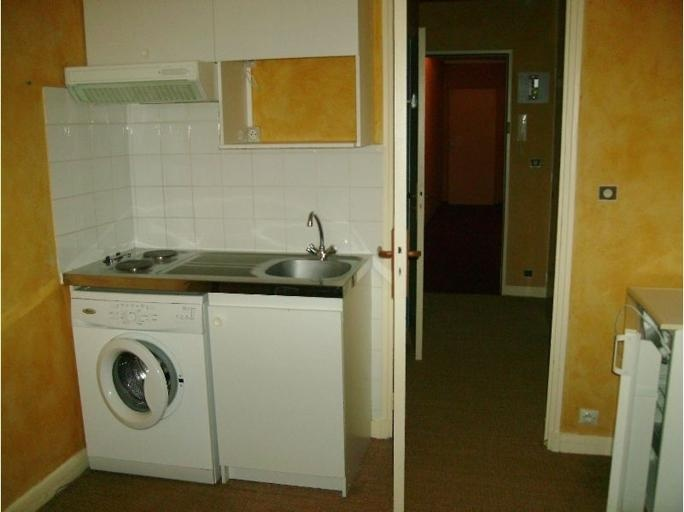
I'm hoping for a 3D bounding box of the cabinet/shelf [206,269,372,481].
[{"bbox_3d":[-0.237,0.681,3.574,0.932,1.464,0.994,1,6,14],"label":"cabinet/shelf"}]

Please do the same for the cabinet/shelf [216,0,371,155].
[{"bbox_3d":[-0.254,-1.001,3.221,0.702,0.706,0.382,1,11,13],"label":"cabinet/shelf"}]
